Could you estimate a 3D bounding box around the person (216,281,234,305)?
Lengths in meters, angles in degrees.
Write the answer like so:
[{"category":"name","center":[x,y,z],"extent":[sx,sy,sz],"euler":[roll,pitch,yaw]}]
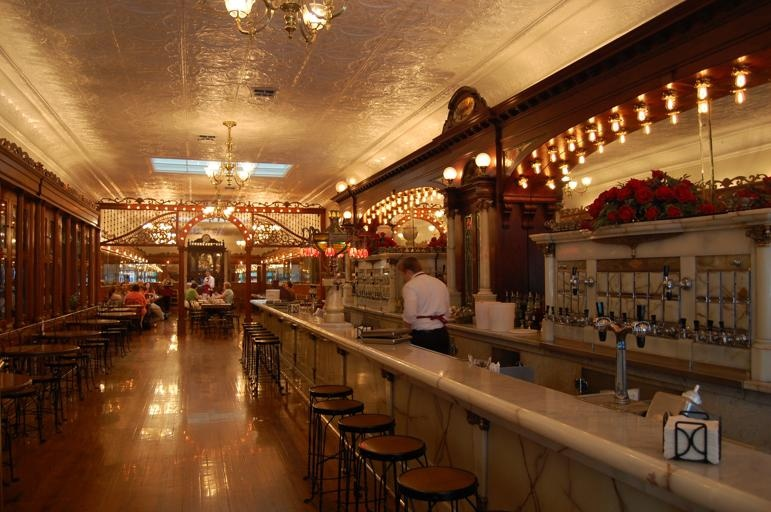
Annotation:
[{"category":"person","center":[-5.256,1.237,18.039],"extent":[0.795,0.513,1.079],"euler":[1,2,-18]}]
